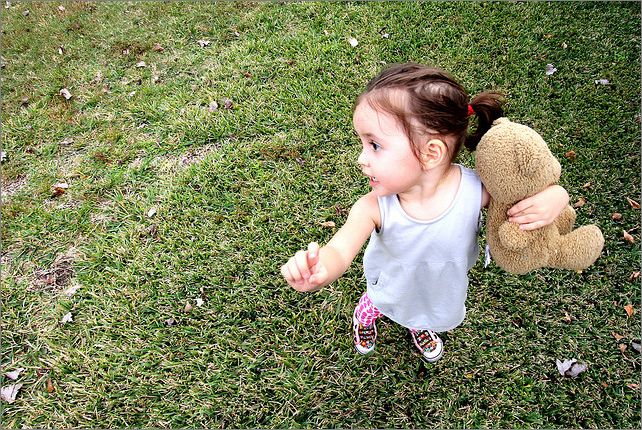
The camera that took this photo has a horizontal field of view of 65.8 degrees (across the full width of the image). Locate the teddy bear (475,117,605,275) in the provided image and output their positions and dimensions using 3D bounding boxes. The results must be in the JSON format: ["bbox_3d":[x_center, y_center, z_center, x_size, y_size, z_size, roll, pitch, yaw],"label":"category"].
[{"bbox_3d":[1.717,-0.140,3.931,0.855,0.890,0.914,-8,53,14],"label":"teddy bear"}]

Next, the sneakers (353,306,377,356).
[{"bbox_3d":[0.417,1.080,4.763,0.183,0.200,0.488,-2,84,-1],"label":"sneakers"}]
